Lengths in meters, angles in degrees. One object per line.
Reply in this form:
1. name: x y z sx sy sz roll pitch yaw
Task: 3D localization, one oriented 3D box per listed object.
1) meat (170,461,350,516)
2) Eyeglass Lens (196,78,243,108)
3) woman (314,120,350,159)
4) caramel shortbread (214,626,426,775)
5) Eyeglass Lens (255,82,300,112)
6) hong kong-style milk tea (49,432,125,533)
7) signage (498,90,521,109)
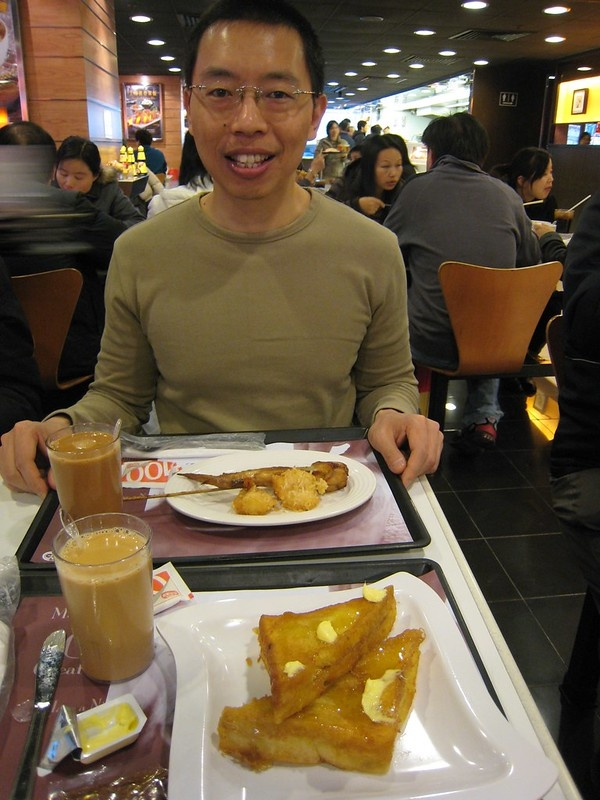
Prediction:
1. meat: -0.047 0.099 0.930 0.207 0.066 0.254 8 11 42
2. Eyeglass Lens: -0.168 -0.605 1.172 0.122 0.051 0.030 12 22 34
3. woman: 0.562 -4.545 10.295 0.668 0.354 1.084 1 36 2
4. caramel shortbread: 0.013 0.246 0.536 0.147 0.062 0.129 -3 11 -25
5. Eyeglass Lens: -0.041 -0.602 1.175 0.108 0.045 0.018 -11 22 -31
6. hong kong-style milk tea: -0.279 0.139 0.845 0.107 0.156 0.115 3 21 6
7. signage: 3.932 -5.631 10.944 0.399 0.299 0.026 2 -3 5
